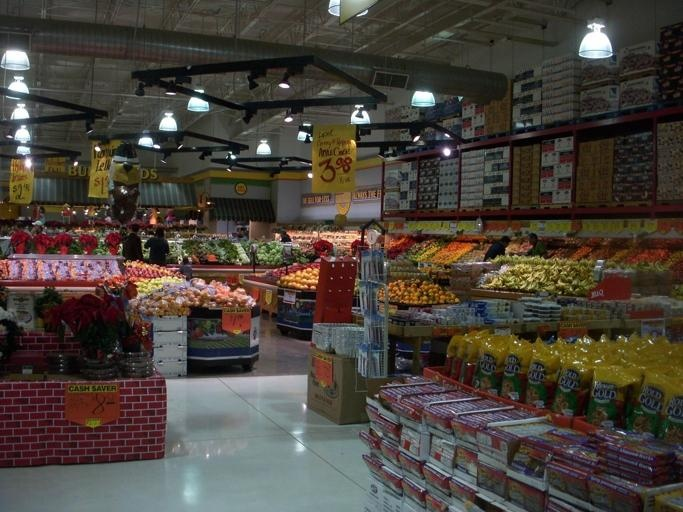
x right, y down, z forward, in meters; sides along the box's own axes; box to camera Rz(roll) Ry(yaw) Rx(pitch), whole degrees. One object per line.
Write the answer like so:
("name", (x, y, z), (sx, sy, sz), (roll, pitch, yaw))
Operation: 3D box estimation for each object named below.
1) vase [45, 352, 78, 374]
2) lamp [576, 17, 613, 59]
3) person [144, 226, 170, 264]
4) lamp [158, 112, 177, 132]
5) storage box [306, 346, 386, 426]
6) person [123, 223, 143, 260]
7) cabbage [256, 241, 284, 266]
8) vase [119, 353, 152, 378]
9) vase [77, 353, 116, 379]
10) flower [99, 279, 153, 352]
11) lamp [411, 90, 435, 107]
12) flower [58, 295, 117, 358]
("vase", (-2.268, 0.863, 4.387), (0.184, 0.111, 0.180), (-2, -6, 24))
("lamp", (3.676, -3.147, 7.797), (0.384, 0.556, 0.459), (4, 7, 41))
("person", (-3.834, -0.182, 11.235), (0.430, 0.759, 0.935), (-3, 6, -19))
("lamp", (-4.173, -3.239, 13.007), (0.336, 0.499, 1.050), (-3, 6, -15))
("storage box", (0.035, 1.357, 5.817), (0.531, 0.680, 0.946), (2, -3, -23))
("person", (-4.138, -0.274, 10.663), (0.379, 0.709, 0.647), (-3, 6, -21))
("cabbage", (-1.783, -0.049, 13.534), (0.615, 0.267, 0.600), (-1, 10, -18))
("vase", (-1.677, 0.885, 4.386), (0.221, 0.151, 0.214), (1, 4, 4))
("vase", (-1.919, 0.882, 4.257), (0.229, 0.128, 0.223), (1, 2, -12))
("flower", (-1.854, 0.351, 4.545), (0.334, 0.655, 0.316), (14, -18, -16))
("lamp", (1.578, -3.071, 10.492), (0.385, 0.308, 0.348), (-1, 6, 3))
("flower", (-2.008, 0.552, 4.312), (0.487, 0.491, 0.250), (-2, 6, -13))
